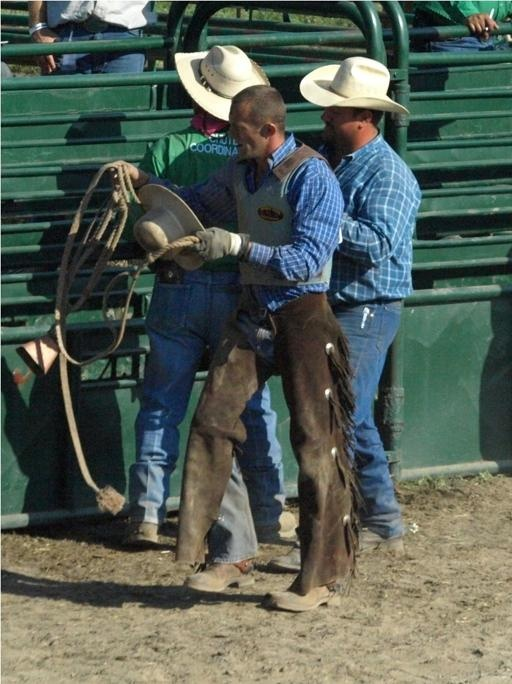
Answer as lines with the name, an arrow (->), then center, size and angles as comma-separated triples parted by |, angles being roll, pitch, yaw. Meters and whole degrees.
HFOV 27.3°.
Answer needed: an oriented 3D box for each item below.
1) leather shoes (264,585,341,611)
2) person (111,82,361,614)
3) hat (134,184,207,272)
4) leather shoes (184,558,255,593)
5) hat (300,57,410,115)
leather shoes -> 0.184, 0.977, 4.031 | 0.256, 0.091, 0.100 | 5, 0, -23
person -> 0.047, 0.025, 4.061 | 0.742, 1.969, 0.789 | 1, 15, -4
hat -> -0.315, -0.415, 3.958 | 0.126, 0.301, 0.328 | -42, 28, -29
leather shoes -> -0.124, 0.906, 4.099 | 0.303, 0.120, 0.105 | 3, 0, -36
hat -> 0.438, -1.079, 4.367 | 0.487, 0.163, 0.394 | -12, 40, -32
